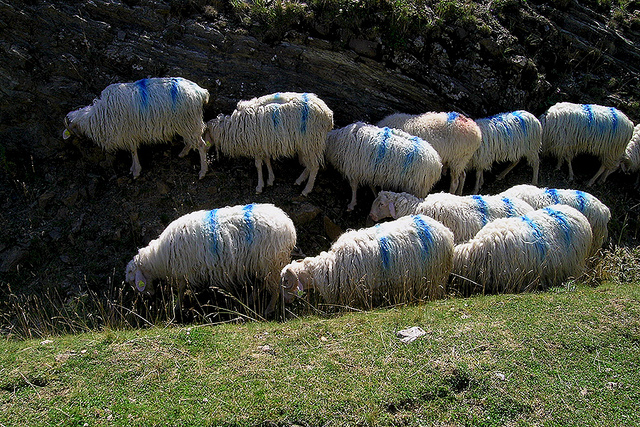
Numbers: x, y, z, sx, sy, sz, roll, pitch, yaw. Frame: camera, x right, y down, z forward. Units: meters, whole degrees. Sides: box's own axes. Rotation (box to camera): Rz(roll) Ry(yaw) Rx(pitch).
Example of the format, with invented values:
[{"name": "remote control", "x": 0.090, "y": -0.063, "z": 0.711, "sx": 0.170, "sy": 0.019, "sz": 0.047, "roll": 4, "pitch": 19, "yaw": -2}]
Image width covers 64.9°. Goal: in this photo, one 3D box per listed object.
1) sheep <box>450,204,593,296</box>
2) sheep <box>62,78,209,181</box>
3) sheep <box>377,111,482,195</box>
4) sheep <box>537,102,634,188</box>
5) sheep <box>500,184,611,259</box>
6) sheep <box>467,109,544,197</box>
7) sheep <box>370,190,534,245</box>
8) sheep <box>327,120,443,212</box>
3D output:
[{"name": "sheep", "x": 3.843, "y": 0.799, "z": 9.329, "sx": 2.510, "sy": 1.382, "sz": 1.299, "roll": -15, "pitch": 32, "yaw": 15}, {"name": "sheep", "x": -3.562, "y": -1.973, "z": 10.507, "sx": 2.874, "sy": 2.030, "sz": 1.342, "roll": -13, "pitch": 55, "yaw": 0}, {"name": "sheep", "x": 2.405, "y": -1.633, "z": 11.760, "sx": 2.743, "sy": 1.920, "sz": 1.220, "roll": 16, "pitch": 5, "yaw": -2}, {"name": "sheep", "x": 6.396, "y": -2.007, "z": 12.244, "sx": 2.391, "sy": 2.133, "sz": 1.656, "roll": 9, "pitch": 32, "yaw": 13}, {"name": "sheep", "x": 4.624, "y": 0.251, "z": 10.314, "sx": 2.529, "sy": 1.307, "sz": 0.764, "roll": 4, "pitch": 5, "yaw": -1}, {"name": "sheep", "x": 4.093, "y": -1.450, "z": 11.883, "sx": 2.410, "sy": 1.705, "sz": 1.043, "roll": -10, "pitch": 20, "yaw": -11}, {"name": "sheep", "x": 2.727, "y": 0.274, "z": 10.252, "sx": 3.343, "sy": 1.631, "sz": 1.129, "roll": -1, "pitch": 6, "yaw": 12}, {"name": "sheep", "x": 1.154, "y": -1.042, "z": 11.291, "sx": 3.033, "sy": 1.998, "sz": 1.429, "roll": 13, "pitch": 36, "yaw": 19}]
